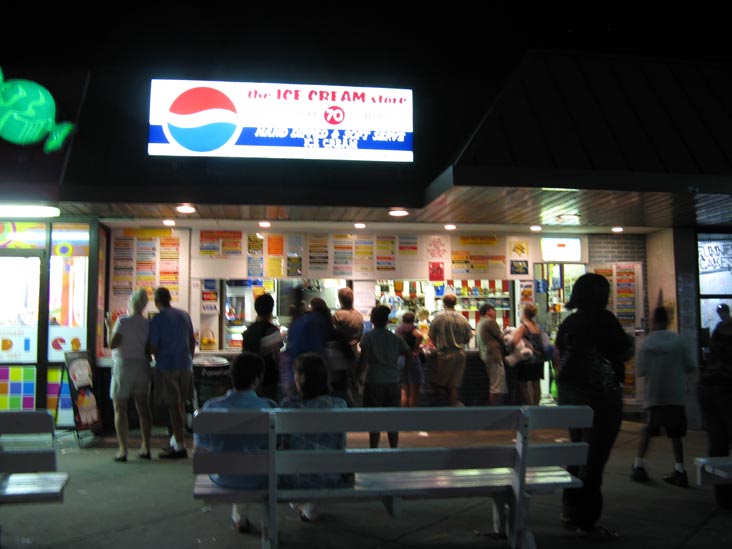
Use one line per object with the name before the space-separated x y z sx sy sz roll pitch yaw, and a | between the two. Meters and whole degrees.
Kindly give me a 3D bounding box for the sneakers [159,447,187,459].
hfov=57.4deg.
sneakers | -2.426 2.273 8.514 0.390 0.145 0.142 4 -10 1
